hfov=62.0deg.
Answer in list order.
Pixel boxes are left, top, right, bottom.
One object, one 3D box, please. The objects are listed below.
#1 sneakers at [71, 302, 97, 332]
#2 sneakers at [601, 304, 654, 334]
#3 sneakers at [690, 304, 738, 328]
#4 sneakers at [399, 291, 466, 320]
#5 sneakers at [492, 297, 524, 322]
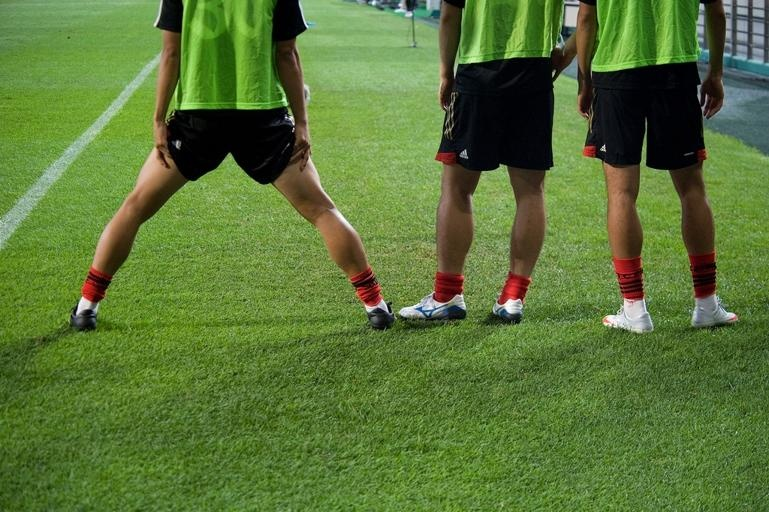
[{"bbox_3d":[-1.535,0.322,3.273,0.073,0.076,0.183,-1,9,-20],"label":"sneakers"},{"bbox_3d":[1.255,0.336,3.330,0.113,0.121,0.276,-5,9,-17],"label":"sneakers"},{"bbox_3d":[1.736,0.293,3.356,0.270,0.120,0.099,-5,13,-15],"label":"sneakers"},{"bbox_3d":[0.271,0.274,3.519,0.377,0.156,0.136,1,-3,-1],"label":"sneakers"},{"bbox_3d":[0.673,0.286,3.453,0.081,0.086,0.194,-2,10,-5],"label":"sneakers"}]
